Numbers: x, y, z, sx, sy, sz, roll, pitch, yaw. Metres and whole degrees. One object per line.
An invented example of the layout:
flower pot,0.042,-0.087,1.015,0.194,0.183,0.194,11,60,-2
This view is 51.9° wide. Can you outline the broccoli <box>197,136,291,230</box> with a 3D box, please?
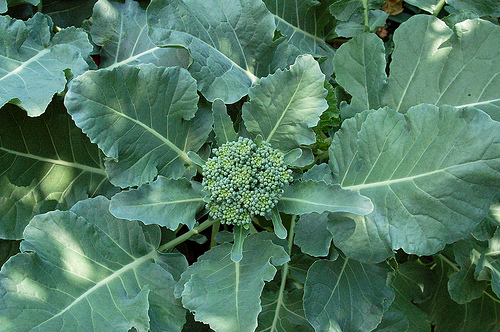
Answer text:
broccoli,-0.027,0.066,2.294,0.406,0.296,0.348,-2,48,-8
